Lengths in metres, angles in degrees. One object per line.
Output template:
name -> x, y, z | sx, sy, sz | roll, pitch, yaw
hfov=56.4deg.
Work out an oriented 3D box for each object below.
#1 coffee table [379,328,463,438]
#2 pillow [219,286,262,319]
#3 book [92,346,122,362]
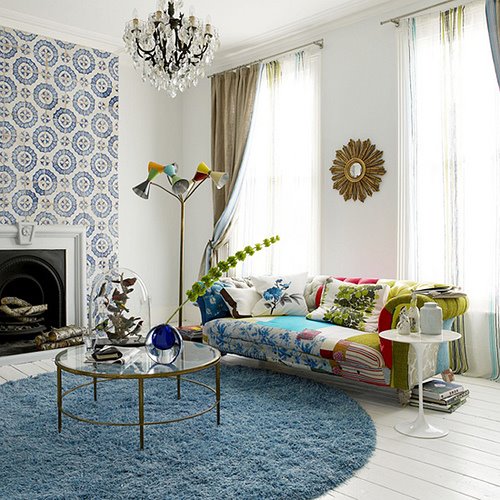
coffee table -> 0.856, 0.673, 2.553 | 0.455, 0.584, 0.484 | -1, -3, 19
pillow -> -0.090, 0.431, 3.844 | 0.238, 0.078, 0.262 | 7, 35, -31
book -> -0.729, 0.531, 2.392 | 0.145, 0.060, 0.108 | 0, 0, -12
